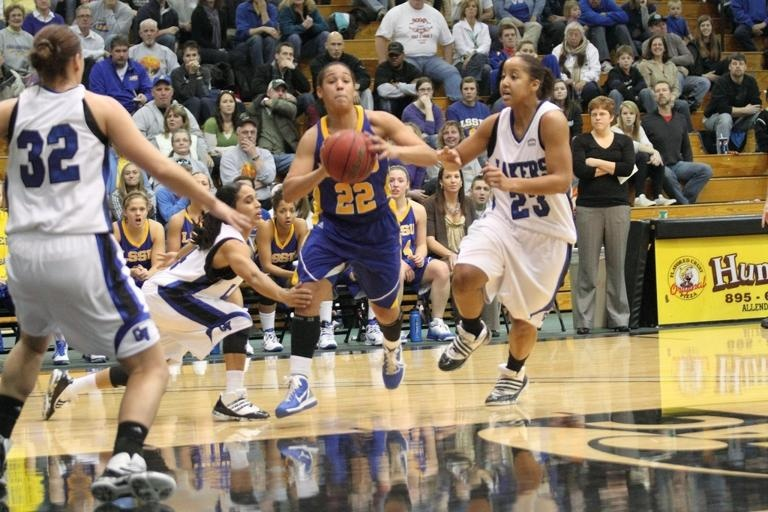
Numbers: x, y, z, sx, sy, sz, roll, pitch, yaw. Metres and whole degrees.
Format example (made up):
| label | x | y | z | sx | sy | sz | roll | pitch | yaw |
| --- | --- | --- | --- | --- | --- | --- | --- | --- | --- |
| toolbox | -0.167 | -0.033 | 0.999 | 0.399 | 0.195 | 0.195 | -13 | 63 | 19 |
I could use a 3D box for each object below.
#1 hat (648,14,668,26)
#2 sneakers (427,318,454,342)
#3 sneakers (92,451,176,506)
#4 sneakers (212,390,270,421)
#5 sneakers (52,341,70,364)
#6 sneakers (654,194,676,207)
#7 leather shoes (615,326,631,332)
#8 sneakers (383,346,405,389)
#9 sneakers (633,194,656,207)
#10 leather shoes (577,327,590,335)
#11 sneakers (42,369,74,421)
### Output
| label | x | y | z | sx | sy | sz | roll | pitch | yaw |
| --- | --- | --- | --- | --- | --- | --- | --- | --- | --- |
| hat | 4.735 | -4.097 | 15.278 | 0.217 | 0.172 | 0.296 | -3 | 10 | -7 |
| sneakers | 0.613 | 0.840 | 9.963 | 0.159 | 0.222 | 0.397 | -2 | 0 | -38 |
| sneakers | -1.365 | 1.218 | 4.883 | 0.481 | 0.226 | 0.256 | -1 | 37 | 3 |
| sneakers | -1.064 | 1.119 | 6.544 | 0.449 | 0.226 | 0.176 | 3 | -4 | -3 |
| sneakers | -3.374 | 0.990 | 9.099 | 0.161 | 0.209 | 0.453 | 1 | -1 | -18 |
| sneakers | 3.888 | -0.762 | 12.158 | 0.360 | 0.166 | 0.138 | -2 | 7 | -10 |
| leather shoes | 2.742 | 0.844 | 10.144 | 0.163 | 0.072 | 0.061 | -10 | -9 | 38 |
| sneakers | 0.074 | 0.884 | 6.930 | 0.132 | 0.375 | 0.147 | -1 | 20 | 5 |
| sneakers | 3.563 | -0.741 | 12.021 | 0.287 | 0.152 | 0.126 | 4 | 6 | 38 |
| leather shoes | 2.273 | 0.859 | 10.063 | 0.060 | 0.070 | 0.164 | -2 | -14 | 20 |
| sneakers | -2.449 | 1.009 | 6.664 | 0.186 | 0.433 | 0.147 | 17 | -4 | -9 |
